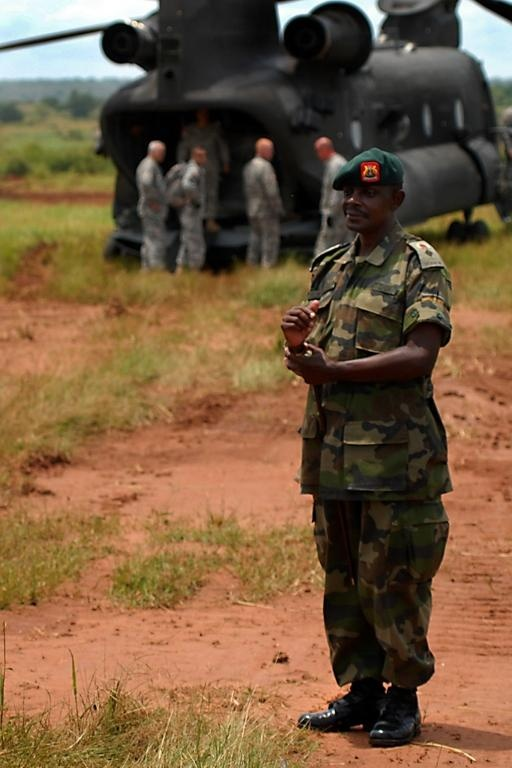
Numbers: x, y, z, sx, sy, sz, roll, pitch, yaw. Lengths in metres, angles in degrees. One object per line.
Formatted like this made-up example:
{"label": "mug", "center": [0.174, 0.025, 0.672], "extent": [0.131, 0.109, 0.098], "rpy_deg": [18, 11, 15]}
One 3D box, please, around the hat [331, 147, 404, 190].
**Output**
{"label": "hat", "center": [0.336, -0.646, 3.161], "extent": [0.193, 0.088, 0.130], "rpy_deg": [2, 4, 7]}

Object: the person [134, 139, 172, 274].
{"label": "person", "center": [-0.993, -1.713, 10.279], "extent": [0.304, 1.237, 1.151], "rpy_deg": [2, 4, -5]}

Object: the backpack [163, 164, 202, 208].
{"label": "backpack", "center": [-0.712, -2.000, 10.714], "extent": [0.497, 0.428, 0.300], "rpy_deg": [7, 17, 34]}

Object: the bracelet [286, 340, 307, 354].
{"label": "bracelet", "center": [0.119, -0.103, 3.004], "extent": [0.034, 0.033, 0.039], "rpy_deg": [1, -31, 9]}

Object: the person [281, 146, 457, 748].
{"label": "person", "center": [0.352, 0.197, 3.215], "extent": [0.495, 1.815, 0.489], "rpy_deg": [3, 5, 9]}

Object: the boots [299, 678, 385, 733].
{"label": "boots", "center": [0.313, 1.018, 3.333], "extent": [0.382, 0.170, 0.112], "rpy_deg": [3, 3, -9]}
